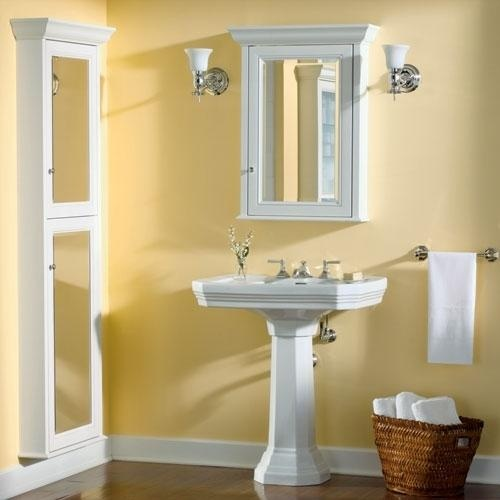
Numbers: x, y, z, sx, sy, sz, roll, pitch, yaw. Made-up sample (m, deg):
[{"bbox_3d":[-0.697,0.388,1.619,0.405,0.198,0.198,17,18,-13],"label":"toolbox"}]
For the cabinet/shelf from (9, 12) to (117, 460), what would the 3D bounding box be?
[{"bbox_3d":[-0.847,-0.056,2.950,0.177,2.008,0.472,2,4,25],"label":"cabinet/shelf"}]

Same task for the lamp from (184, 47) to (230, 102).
[{"bbox_3d":[-0.201,-0.833,3.062,0.177,0.299,0.231,2,5,34],"label":"lamp"}]

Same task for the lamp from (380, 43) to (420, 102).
[{"bbox_3d":[0.671,-0.807,2.839,0.128,0.224,0.225,1,7,25],"label":"lamp"}]

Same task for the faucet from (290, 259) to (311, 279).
[{"bbox_3d":[0.240,0.096,3.002,0.055,0.094,0.096,1,3,7],"label":"faucet"}]

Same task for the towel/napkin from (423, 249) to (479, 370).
[{"bbox_3d":[0.891,0.259,2.854,0.193,0.482,0.043,0,6,14],"label":"towel/napkin"}]

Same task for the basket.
[{"bbox_3d":[0.733,0.755,2.723,0.408,0.331,0.300,0,-5,25],"label":"basket"}]

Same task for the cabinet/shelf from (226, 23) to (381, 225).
[{"bbox_3d":[0.238,-0.620,3.062,0.631,1.046,0.212,-1,41,3],"label":"cabinet/shelf"}]
